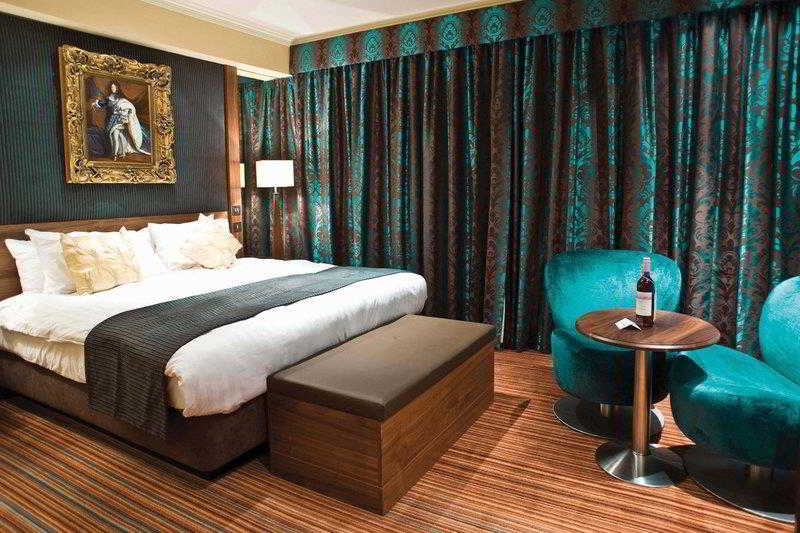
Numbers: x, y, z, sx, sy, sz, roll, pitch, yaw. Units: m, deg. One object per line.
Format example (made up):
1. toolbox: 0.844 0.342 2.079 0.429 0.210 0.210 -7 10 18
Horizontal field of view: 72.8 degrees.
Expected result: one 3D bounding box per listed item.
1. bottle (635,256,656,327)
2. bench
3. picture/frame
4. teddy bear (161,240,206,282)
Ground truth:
1. bottle: 1.634 0.149 3.614 0.116 0.453 0.283 2 15 25
2. bench: -0.230 0.527 3.642 0.975 0.719 1.900 4 9 30
3. picture/frame: -2.722 -1.433 5.228 0.098 1.220 1.057 7 17 39
4. teddy bear: -1.960 -0.030 4.947 0.353 0.349 0.256 -2 9 -7
